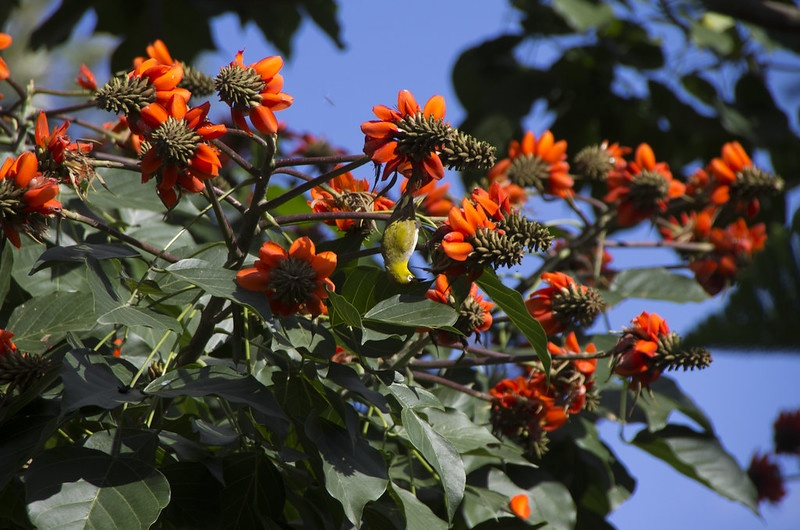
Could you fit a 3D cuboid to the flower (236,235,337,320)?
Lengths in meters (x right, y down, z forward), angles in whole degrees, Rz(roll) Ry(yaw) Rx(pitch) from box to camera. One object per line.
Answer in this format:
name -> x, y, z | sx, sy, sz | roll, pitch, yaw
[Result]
flower -> -0.211, 0.010, 1.718 | 0.168, 0.141, 0.067 | -4, -66, 16
